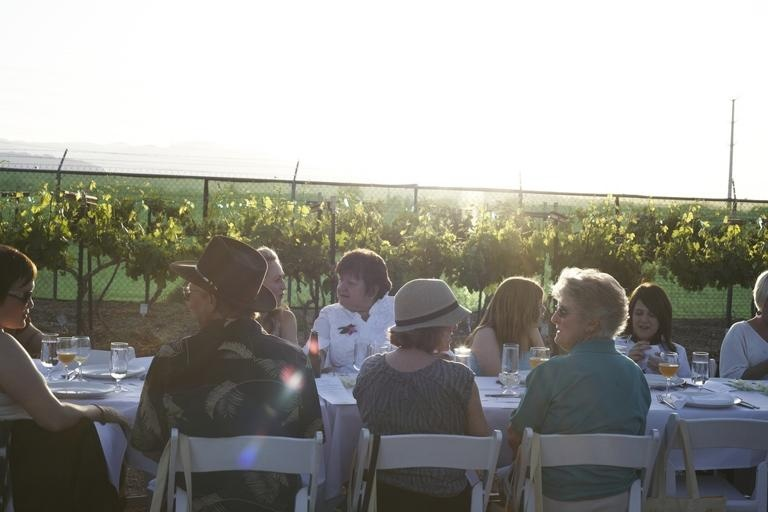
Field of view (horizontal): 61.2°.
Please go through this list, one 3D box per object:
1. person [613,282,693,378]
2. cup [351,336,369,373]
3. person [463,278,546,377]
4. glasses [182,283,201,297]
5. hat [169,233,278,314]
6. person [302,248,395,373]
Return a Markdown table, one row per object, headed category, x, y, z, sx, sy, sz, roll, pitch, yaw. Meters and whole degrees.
| category | x | y | z | sx | sy | sz | roll | pitch | yaw |
| --- | --- | --- | --- | --- | --- | --- | --- | --- | --- |
| person | 2.690 | 0.784 | 6.559 | 0.836 | 0.993 | 0.487 | 2 | -2 | 38 |
| cup | -0.213 | 0.926 | 6.054 | 0.157 | 0.312 | 0.272 | 4 | 5 | -6 |
| person | 1.231 | 0.628 | 6.592 | 0.722 | 1.216 | 0.860 | 3 | 2 | 19 |
| glasses | -1.361 | 0.240 | 4.576 | 0.135 | 0.049 | 0.140 | 6 | -4 | -14 |
| hat | -1.067 | 0.145 | 4.427 | 0.562 | 0.251 | 0.485 | 32 | 17 | 7 |
| person | -0.217 | 0.698 | 6.677 | 1.009 | 1.351 | 0.657 | 3 | -23 | 1 |
